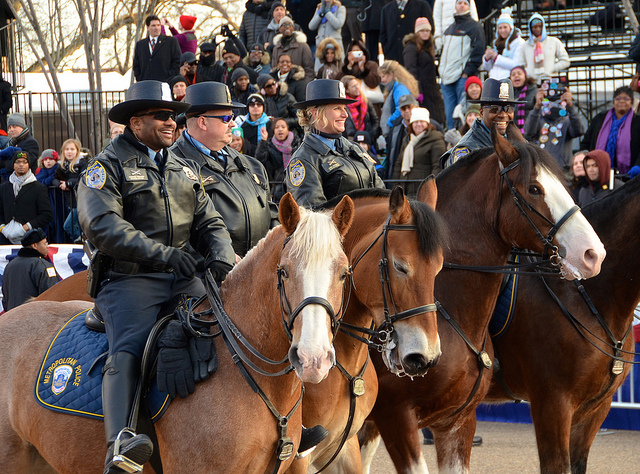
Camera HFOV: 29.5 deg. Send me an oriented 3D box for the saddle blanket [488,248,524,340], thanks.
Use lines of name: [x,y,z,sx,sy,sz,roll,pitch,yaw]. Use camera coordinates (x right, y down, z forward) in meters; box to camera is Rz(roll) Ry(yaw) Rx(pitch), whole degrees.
saddle blanket: [1.989,0.672,13.280,0.529,0.829,0.239,5,-1,-24]

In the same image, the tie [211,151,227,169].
tie: [-1.157,-0.891,13.881,0.197,0.057,0.140,55,24,18]

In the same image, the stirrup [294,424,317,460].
stirrup: [-0.158,2.006,11.920,0.088,0.295,0.173,25,-10,11]

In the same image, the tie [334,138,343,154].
tie: [0.208,-1.013,13.572,0.088,0.129,0.043,-1,-12,-23]

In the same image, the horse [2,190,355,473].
horse: [-1.474,0.971,11.974,3.643,2.910,1.955,0,9,5]

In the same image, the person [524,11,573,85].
person: [3.681,-3.078,19.688,0.712,1.043,3.713,1,10,10]

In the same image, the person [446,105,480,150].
person: [2.087,-1.592,17.475,0.496,0.299,0.720,-11,-1,-4]

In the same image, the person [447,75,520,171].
person: [1.974,-1.290,13.995,0.749,1.209,0.646,-4,20,-14]
